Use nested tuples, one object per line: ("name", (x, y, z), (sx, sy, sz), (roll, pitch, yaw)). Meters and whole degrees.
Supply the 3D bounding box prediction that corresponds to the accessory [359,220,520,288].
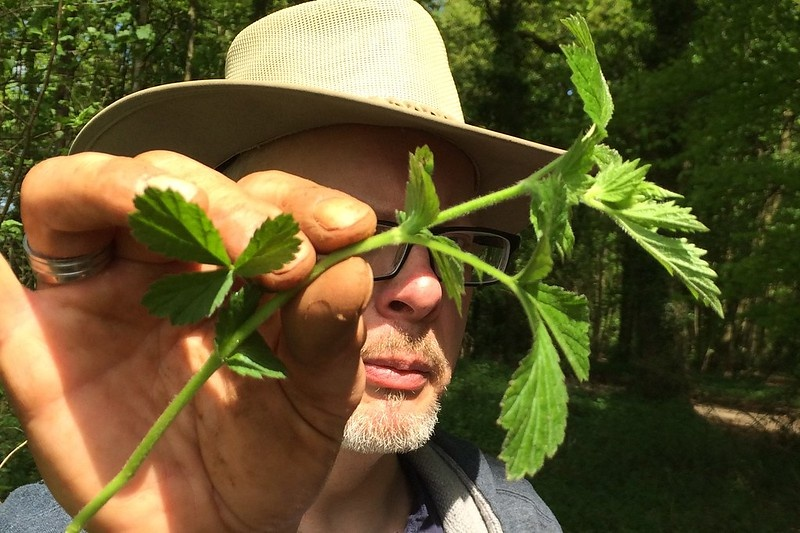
("accessory", (0.314, -0.021, 2.984), (0.369, 0.106, 0.376), (13, -25, -33))
